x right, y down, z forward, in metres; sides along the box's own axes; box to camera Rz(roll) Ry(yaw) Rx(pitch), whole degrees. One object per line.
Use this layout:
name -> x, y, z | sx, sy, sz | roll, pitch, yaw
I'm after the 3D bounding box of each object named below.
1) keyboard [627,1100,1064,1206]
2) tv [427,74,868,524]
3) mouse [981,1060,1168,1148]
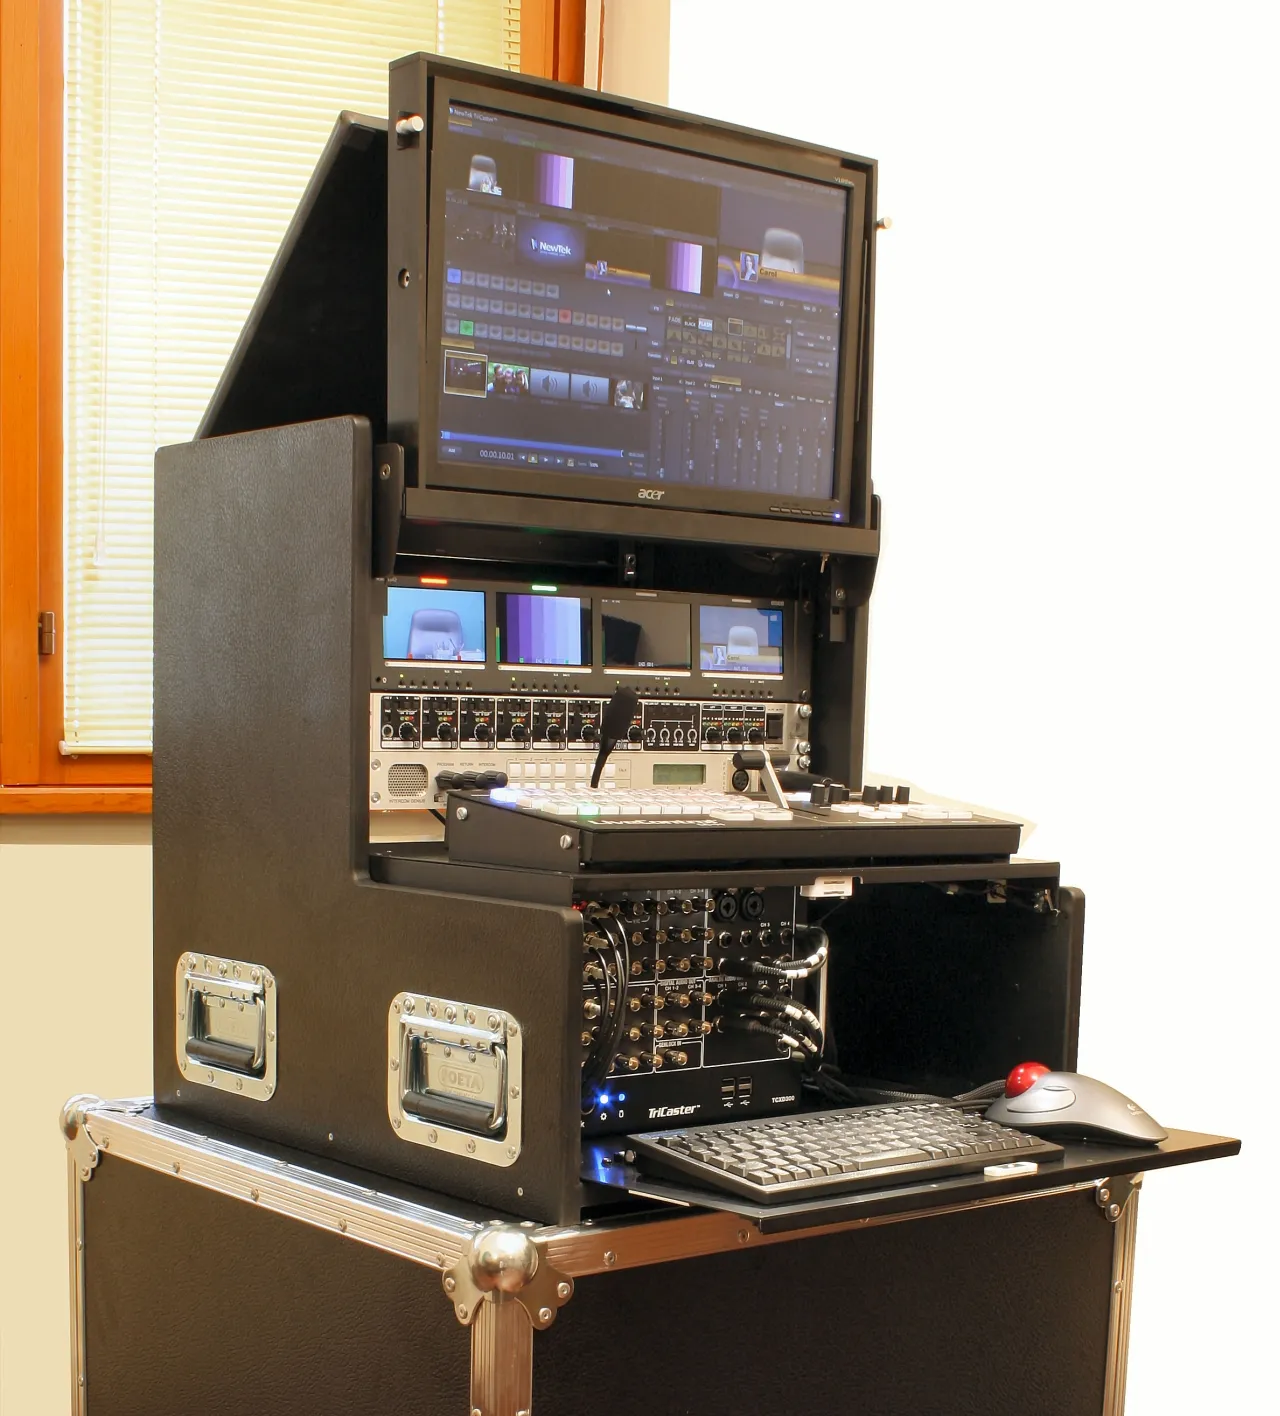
keyboard -> 0.190, 0.391, 1.269 | 0.381, 0.038, 0.201 | 4, 0, -37
tv -> -0.001, -0.405, 1.465 | 0.523, 0.372, 0.036 | 0, 1, -34
mouse -> 0.417, 0.371, 1.380 | 0.119, 0.045, 0.077 | 5, 2, 25
